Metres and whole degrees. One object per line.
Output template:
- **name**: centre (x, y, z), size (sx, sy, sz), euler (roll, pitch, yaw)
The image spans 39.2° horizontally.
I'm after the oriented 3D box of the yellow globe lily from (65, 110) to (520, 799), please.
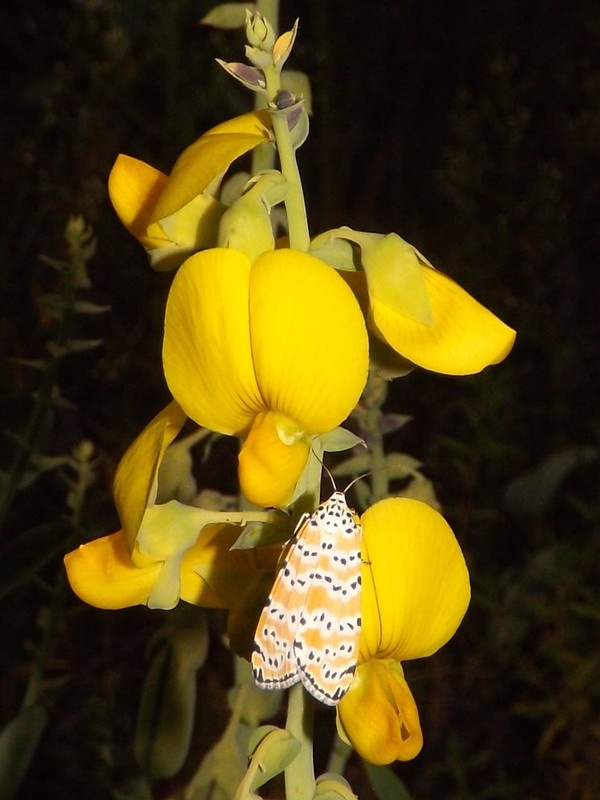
- **yellow globe lily**: centre (-0.008, -0.002, 0.433), size (0.234, 0.130, 0.334), euler (-1, 92, 3)
